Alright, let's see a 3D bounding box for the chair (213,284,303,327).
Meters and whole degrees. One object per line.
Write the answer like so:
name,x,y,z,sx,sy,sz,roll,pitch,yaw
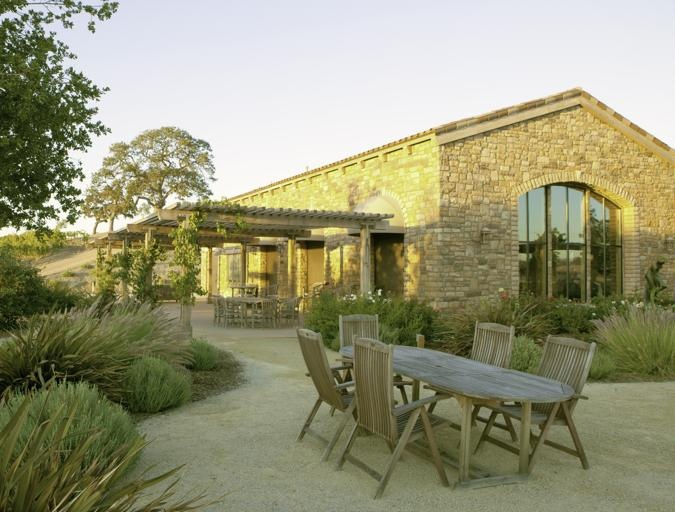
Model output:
chair,-2.345,1.588,16.311,2.356,1.295,2.964,0,9,-8
